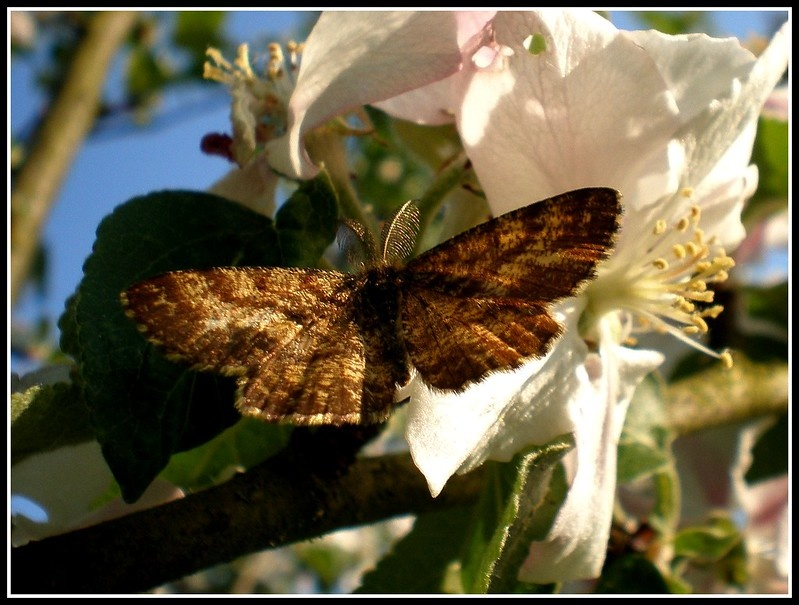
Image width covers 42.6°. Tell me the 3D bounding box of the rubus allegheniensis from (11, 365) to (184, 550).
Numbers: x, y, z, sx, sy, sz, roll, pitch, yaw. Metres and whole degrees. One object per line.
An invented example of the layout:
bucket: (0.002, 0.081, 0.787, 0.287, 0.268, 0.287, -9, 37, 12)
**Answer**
rubus allegheniensis: (-0.418, 0.248, 1.376, 0.230, 0.096, 0.063, -10, 12, 5)
